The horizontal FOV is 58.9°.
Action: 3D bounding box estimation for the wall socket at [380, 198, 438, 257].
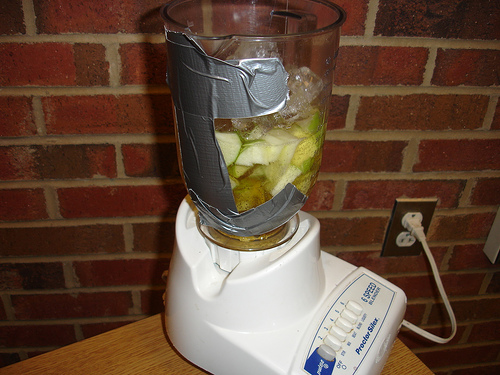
[{"bbox_3d":[0.362,0.093,1.009,0.095,0.158,0.017,0,33,-6],"label":"wall socket"}]
